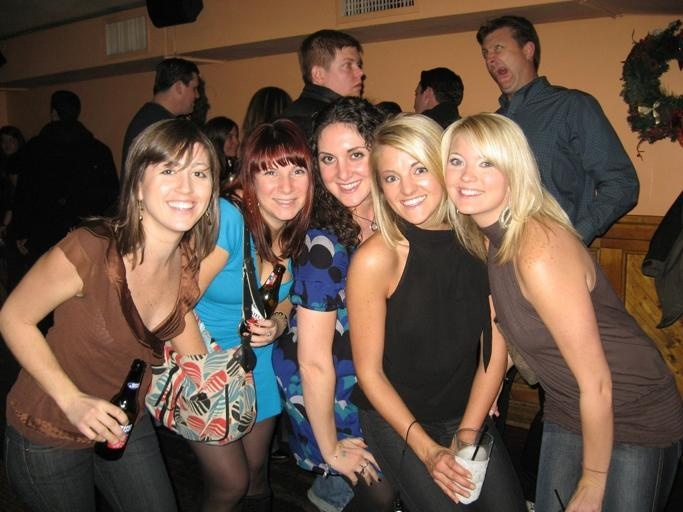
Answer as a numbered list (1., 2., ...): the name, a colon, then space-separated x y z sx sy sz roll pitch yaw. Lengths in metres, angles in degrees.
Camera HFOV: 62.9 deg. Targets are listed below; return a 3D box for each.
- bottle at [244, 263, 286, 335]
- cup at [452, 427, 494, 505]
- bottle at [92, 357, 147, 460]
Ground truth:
1. bottle: -0.383 0.196 2.774 0.090 0.309 0.261 5 13 36
2. cup: 0.565 0.885 2.378 0.157 0.311 0.273 1 11 16
3. bottle: -0.887 0.646 2.350 0.187 0.407 0.251 3 12 29
